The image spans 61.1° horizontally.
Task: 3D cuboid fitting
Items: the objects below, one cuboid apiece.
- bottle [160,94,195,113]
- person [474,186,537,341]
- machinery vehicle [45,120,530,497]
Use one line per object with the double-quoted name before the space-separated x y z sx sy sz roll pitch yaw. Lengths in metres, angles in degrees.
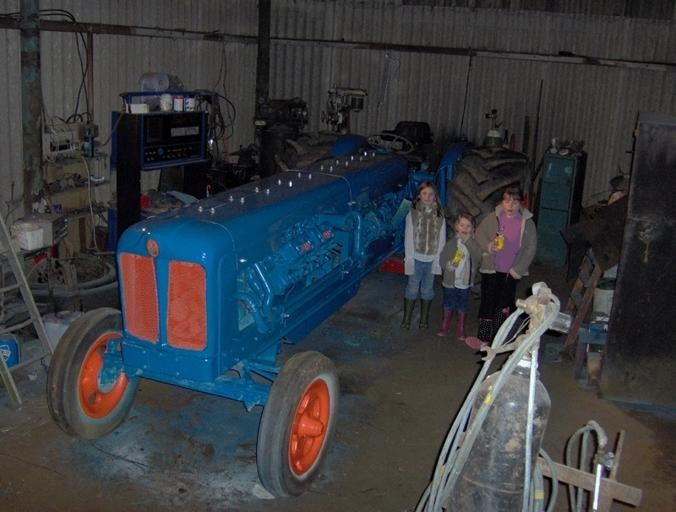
"bottle" -1.989 -1.864 7.066 0.222 0.133 0.323 5 17 0
"person" 1.618 0.160 5.656 0.518 1.630 0.452 13 32 18
"machinery vehicle" -0.263 0.287 5.353 1.718 1.536 4.224 12 24 23
